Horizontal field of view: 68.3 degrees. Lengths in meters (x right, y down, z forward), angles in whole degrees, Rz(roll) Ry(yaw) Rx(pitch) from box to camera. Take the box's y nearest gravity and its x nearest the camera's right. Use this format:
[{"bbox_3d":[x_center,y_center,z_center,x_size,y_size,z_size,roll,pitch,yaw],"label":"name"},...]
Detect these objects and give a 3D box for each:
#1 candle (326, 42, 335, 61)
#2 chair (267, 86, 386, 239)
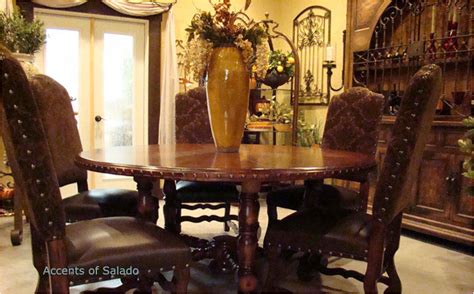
[{"bbox_3d":[1.138,-1.131,4.252,0.103,0.192,0.122,2,10,9],"label":"candle"},{"bbox_3d":[0.714,0.084,2.882,0.843,1.231,0.765,-1,5,-13],"label":"chair"}]
